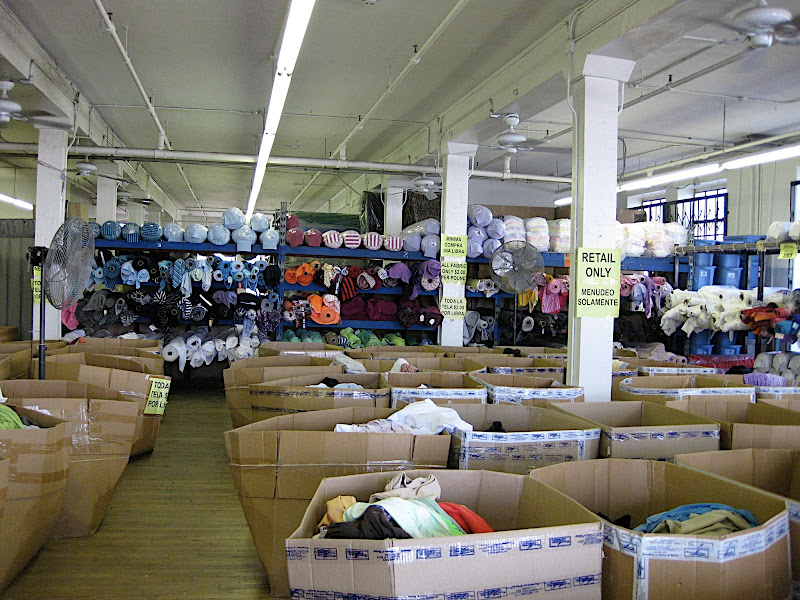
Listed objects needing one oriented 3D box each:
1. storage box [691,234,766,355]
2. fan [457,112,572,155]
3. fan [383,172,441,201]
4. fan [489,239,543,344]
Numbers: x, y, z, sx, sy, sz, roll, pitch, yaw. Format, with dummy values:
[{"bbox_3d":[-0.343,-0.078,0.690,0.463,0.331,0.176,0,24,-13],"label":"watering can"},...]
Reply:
[{"bbox_3d":[4.564,-0.272,8.420,0.957,1.337,2.849,6,5,28],"label":"storage box"},{"bbox_3d":[1.374,-2.012,7.094,0.981,0.422,1.164,7,12,40],"label":"fan"},{"bbox_3d":[0.252,-1.915,9.452,0.787,0.228,0.802,-1,4,-8],"label":"fan"},{"bbox_3d":[1.454,-0.386,7.316,0.593,0.675,1.108,5,5,12],"label":"fan"}]
